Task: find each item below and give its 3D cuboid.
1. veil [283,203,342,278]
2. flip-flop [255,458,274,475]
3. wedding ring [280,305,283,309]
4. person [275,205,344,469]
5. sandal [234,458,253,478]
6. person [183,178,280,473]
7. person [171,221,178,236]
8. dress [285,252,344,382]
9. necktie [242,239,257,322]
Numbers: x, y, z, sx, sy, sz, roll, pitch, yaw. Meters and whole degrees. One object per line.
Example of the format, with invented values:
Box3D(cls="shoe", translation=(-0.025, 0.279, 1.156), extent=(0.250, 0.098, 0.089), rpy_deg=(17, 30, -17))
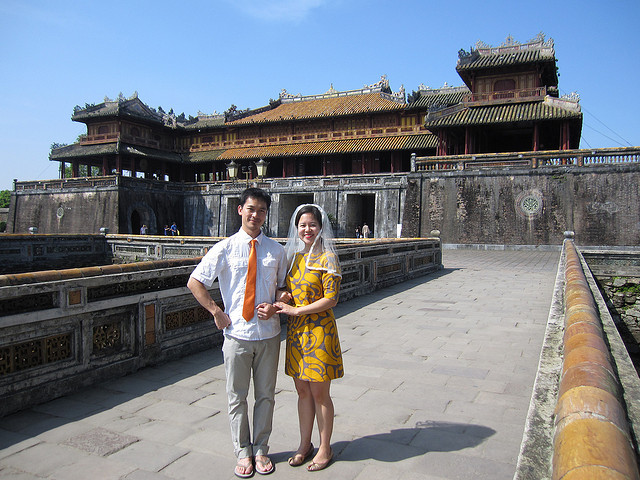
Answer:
Box3D(cls="veil", translation=(-0.050, 0.003, 3.313), extent=(0.481, 0.580, 0.396), rpy_deg=(0, -4, 33))
Box3D(cls="flip-flop", translation=(-0.360, 1.469, 2.887), extent=(0.123, 0.067, 0.082), rpy_deg=(-4, 3, -4))
Box3D(cls="wedding ring", translation=(-0.253, 0.448, 2.971), extent=(0.005, 0.021, 0.019), rpy_deg=(12, -8, -43))
Box3D(cls="person", translation=(-0.052, 0.621, 3.118), extent=(0.437, 1.741, 0.535), rpy_deg=(-3, 2, 12))
Box3D(cls="sandal", translation=(-0.491, 1.473, 2.854), extent=(0.118, 0.083, 0.097), rpy_deg=(-4, 3, -10))
Box3D(cls="person", translation=(-0.536, 0.574, 3.001), extent=(0.588, 1.410, 0.427), rpy_deg=(-3, 2, -6))
Box3D(cls="person", translation=(-9.052, -0.667, 27.540), extent=(0.378, 0.648, 1.517), rpy_deg=(-4, 3, -19))
Box3D(cls="dress", translation=(-0.022, 0.489, 3.093), extent=(0.372, 0.785, 0.458), rpy_deg=(4, 6, 14))
Box3D(cls="necktie", translation=(-0.468, 0.266, 2.987), extent=(0.076, 0.393, 0.155), rpy_deg=(-3, 2, 16))
